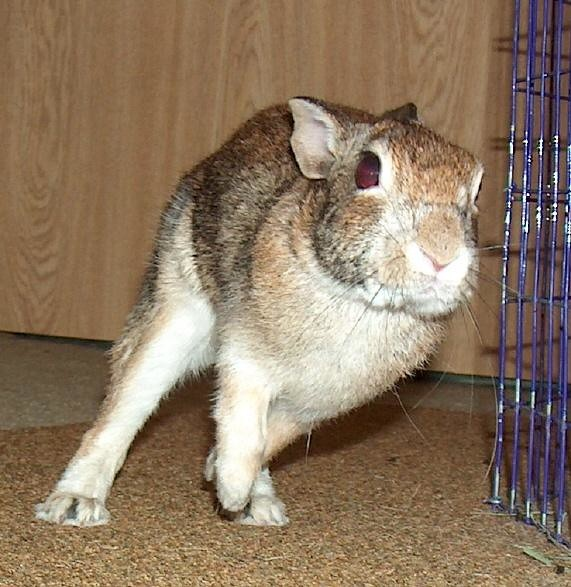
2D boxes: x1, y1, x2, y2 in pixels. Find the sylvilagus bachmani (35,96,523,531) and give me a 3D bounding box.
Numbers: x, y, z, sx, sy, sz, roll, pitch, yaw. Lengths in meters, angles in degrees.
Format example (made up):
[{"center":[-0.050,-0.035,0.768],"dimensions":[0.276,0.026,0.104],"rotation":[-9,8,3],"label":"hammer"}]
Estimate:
[{"center":[0.001,0.063,2.546],"dimensions":[1.295,1.289,0.678],"rotation":[7,7,29],"label":"sylvilagus bachmani"}]
